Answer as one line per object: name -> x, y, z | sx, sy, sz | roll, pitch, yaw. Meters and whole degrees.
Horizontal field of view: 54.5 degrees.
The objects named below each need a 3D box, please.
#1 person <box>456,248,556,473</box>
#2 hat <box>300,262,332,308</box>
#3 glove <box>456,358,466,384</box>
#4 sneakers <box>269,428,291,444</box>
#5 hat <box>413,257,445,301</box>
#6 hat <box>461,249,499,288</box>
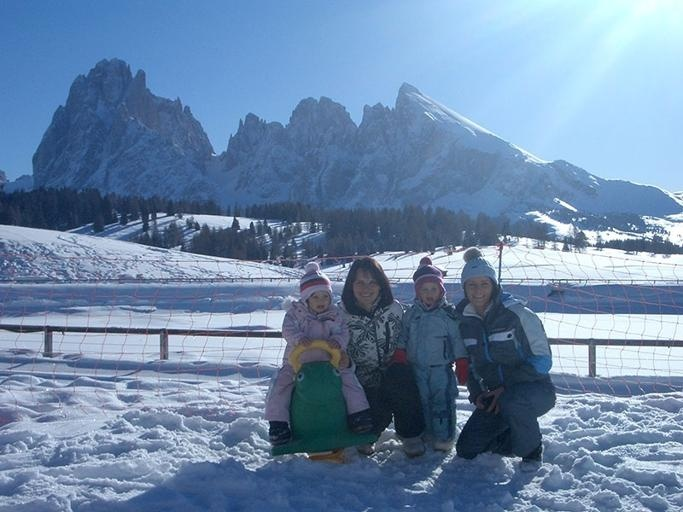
person -> 2.010, 1.256, 8.168 | 1.175, 2.388, 0.612 | 3, 3, 10
hat -> -0.349, 0.318, 8.402 | 0.368, 0.543, 0.503 | -2, -5, -15
glove -> 1.492, 1.406, 8.207 | 0.086, 0.259, 0.186 | 1, -10, 15
sneakers -> -0.728, 2.126, 7.853 | 0.255, 0.190, 0.065 | 2, 3, -7
hat -> 1.144, 0.282, 8.741 | 0.427, 0.553, 0.633 | -16, -6, 21
hat -> 1.746, 0.130, 8.505 | 0.375, 0.465, 0.533 | -18, -6, 14
